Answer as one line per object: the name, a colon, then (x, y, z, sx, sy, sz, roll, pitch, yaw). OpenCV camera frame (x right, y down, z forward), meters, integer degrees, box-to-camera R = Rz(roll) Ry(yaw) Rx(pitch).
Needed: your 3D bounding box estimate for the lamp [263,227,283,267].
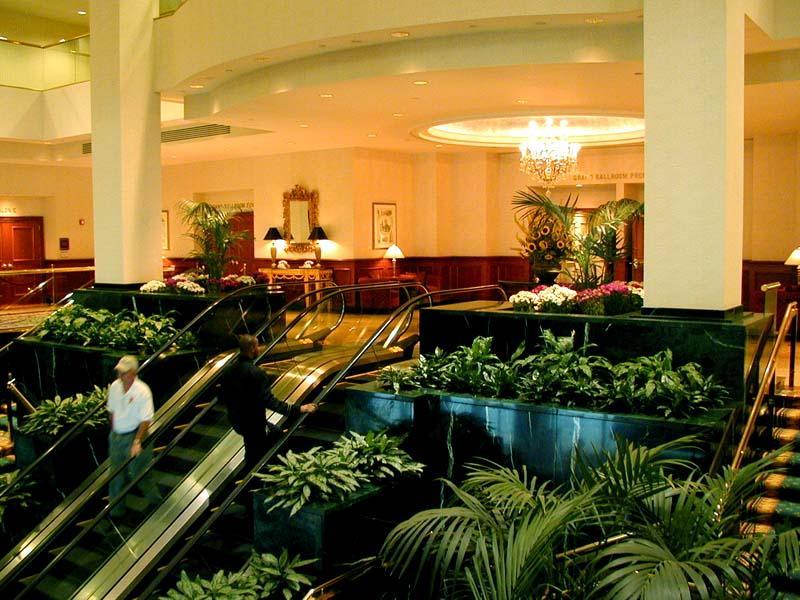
lamp: (-3.717, -1.440, 17.038, 0.538, 1.151, 0.862, -1, 4, -13)

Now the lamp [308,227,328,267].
lamp: (-2.261, -1.396, 16.135, 0.502, 1.114, 0.650, 0, 4, -9)

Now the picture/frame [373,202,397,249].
picture/frame: (-0.416, -1.964, 16.545, 0.164, 1.297, 1.029, 4, 6, 38)

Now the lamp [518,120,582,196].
lamp: (3.138, -2.677, 11.966, 0.910, 0.973, 0.879, 3, 0, 30)

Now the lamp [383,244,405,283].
lamp: (-0.179, -1.023, 16.652, 0.497, 0.918, 1.004, 0, 4, 0)

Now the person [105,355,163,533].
person: (-2.845, 1.393, 6.147, 0.489, 1.535, 1.032, -2, 5, -27)

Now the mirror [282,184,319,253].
mirror: (-2.845, -2.162, 16.615, 1.250, 1.943, 0.329, 4, 6, 42)

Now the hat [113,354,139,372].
hat: (-2.888, 0.711, 6.084, 0.178, 0.165, 0.114, 0, 4, -9)

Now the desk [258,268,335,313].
desk: (-2.136, -0.127, 12.327, 1.249, 0.976, 0.434, 1, 5, 20)

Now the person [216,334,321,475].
person: (-1.441, 1.074, 5.916, 0.737, 1.364, 0.452, 2, 5, 20)

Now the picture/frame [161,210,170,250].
picture/frame: (-8.144, -2.256, 20.153, 0.106, 1.357, 0.513, -4, 6, -42)
